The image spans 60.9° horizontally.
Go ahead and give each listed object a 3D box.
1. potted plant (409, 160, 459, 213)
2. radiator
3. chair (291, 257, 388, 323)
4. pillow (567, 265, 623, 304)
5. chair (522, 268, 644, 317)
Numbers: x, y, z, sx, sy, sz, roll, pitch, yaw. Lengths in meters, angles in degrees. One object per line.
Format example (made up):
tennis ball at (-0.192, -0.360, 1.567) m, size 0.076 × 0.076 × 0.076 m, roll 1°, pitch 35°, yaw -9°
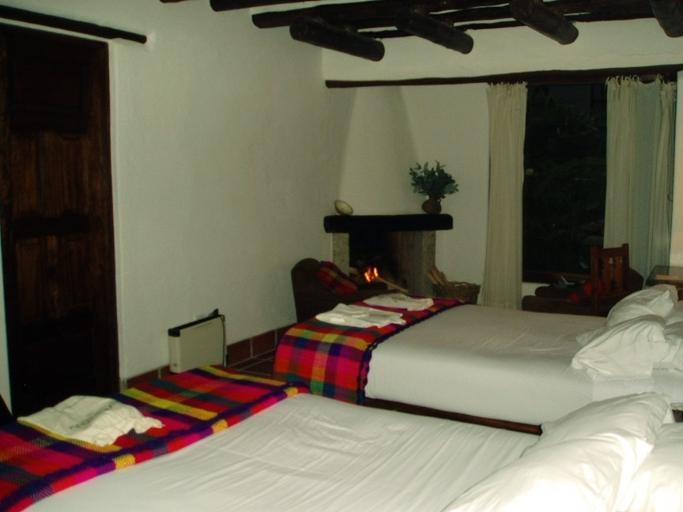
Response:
potted plant at (1.220, -0.838, 7.380) m, size 0.515 × 0.672 × 0.684 m, roll 5°, pitch -2°, yaw 1°
radiator at (-1.109, 0.654, 4.398) m, size 0.089 × 0.459 × 0.455 m, roll 8°, pitch 12°, yaw 32°
chair at (0.107, 0.428, 5.979) m, size 1.038 × 0.644 × 1.010 m, roll 5°, pitch 9°, yaw 26°
pillow at (2.440, 0.284, 5.553) m, size 0.255 × 0.472 × 0.264 m, roll -7°, pitch 28°, yaw -5°
chair at (2.382, 0.449, 5.908) m, size 0.708 × 0.590 × 0.753 m, roll 5°, pitch 8°, yaw 37°
